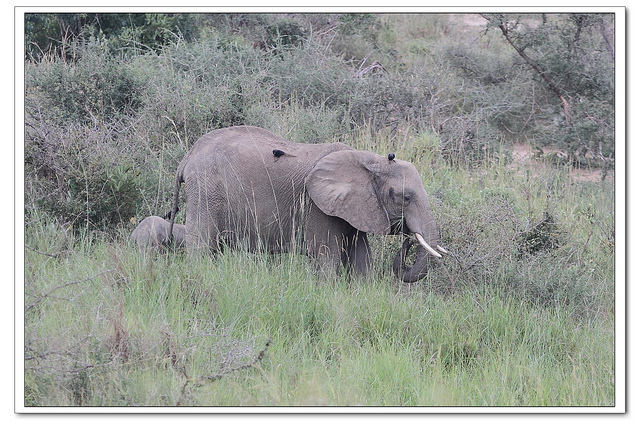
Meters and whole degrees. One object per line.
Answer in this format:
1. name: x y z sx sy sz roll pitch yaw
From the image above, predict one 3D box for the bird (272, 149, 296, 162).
1. bird: -0.515 -0.821 8.083 0.231 0.106 0.077 8 -1 -15
